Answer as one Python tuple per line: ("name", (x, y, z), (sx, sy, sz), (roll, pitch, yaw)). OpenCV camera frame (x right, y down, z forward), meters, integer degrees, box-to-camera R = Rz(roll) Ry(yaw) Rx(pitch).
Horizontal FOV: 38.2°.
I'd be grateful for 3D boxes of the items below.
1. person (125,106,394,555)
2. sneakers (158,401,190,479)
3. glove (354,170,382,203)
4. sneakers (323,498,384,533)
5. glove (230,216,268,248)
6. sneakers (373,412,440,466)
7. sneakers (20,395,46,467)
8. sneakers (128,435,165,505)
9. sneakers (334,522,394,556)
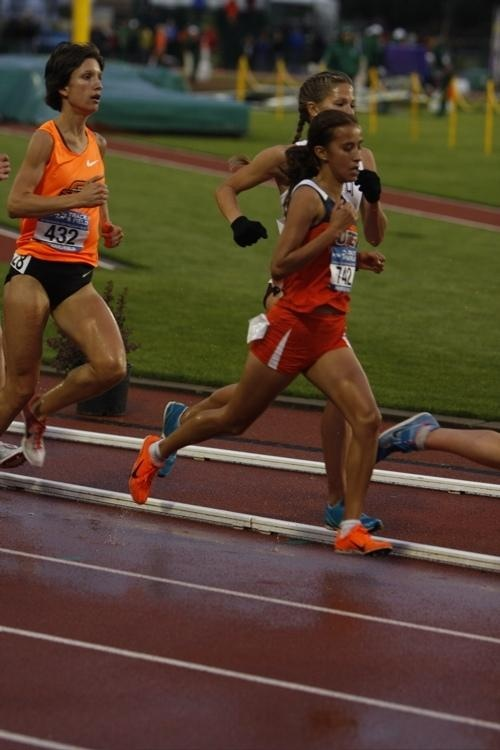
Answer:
("person", (0.099, -0.132, 3.011), (0.970, 1.819, 0.532), (9, 9, 40))
("sneakers", (-0.405, 0.335, 3.682), (0.175, 0.396, 0.136), (15, 8, 35))
("glove", (0.468, -0.764, 2.900), (0.097, 0.133, 0.254), (4, 7, 8))
("sneakers", (0.440, 0.656, 3.318), (0.314, 0.129, 0.110), (3, 11, 32))
("glove", (-0.021, -0.548, 2.818), (0.129, 0.067, 0.148), (-26, 62, -31))
("sneakers", (0.695, 0.311, 3.184), (0.310, 0.113, 0.185), (-26, 26, 29))
("sneakers", (-1.117, 0.288, 3.708), (0.133, 0.350, 0.162), (-8, 0, -42))
("sneakers", (-0.497, 0.457, 3.498), (0.164, 0.345, 0.128), (12, 1, 33))
("sneakers", (0.448, 0.685, 3.001), (0.275, 0.118, 0.111), (-1, -4, 15))
